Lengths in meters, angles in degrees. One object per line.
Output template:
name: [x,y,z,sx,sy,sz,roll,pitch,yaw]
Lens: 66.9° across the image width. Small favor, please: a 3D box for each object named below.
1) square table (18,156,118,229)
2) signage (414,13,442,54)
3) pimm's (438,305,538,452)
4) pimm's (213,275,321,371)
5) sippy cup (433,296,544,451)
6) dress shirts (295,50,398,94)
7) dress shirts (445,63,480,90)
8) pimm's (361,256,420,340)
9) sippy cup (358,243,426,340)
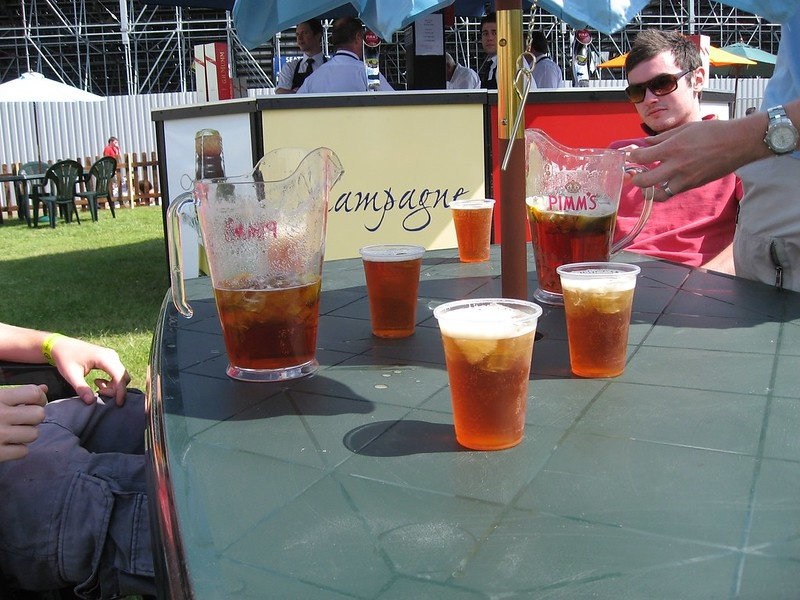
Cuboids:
square table: [-6.497,-2.081,11.940,1.850,1.248,0.974,-21,46,-40]
signage: [0.245,-2.287,5.236,0.281,0.363,0.170,-6,13,-7]
pimm's: [0.107,0.096,0.829,0.194,0.182,0.163,0,11,6]
pimm's: [-0.200,0.033,1.014,0.178,0.118,0.146,-8,11,-21]
sippy cup: [0.109,0.077,0.781,0.202,0.191,0.171,0,11,6]
dress shirts: [-0.604,-2.054,5.452,0.597,0.416,0.455,-4,12,-2]
dress shirts: [0.829,-2.984,8.094,0.376,0.354,0.576,-4,12,0]
pimm's: [-0.014,-0.008,1.137,0.171,0.166,0.140,-1,2,-6]
sippy cup: [-0.015,-0.023,1.139,0.188,0.182,0.164,0,6,0]
